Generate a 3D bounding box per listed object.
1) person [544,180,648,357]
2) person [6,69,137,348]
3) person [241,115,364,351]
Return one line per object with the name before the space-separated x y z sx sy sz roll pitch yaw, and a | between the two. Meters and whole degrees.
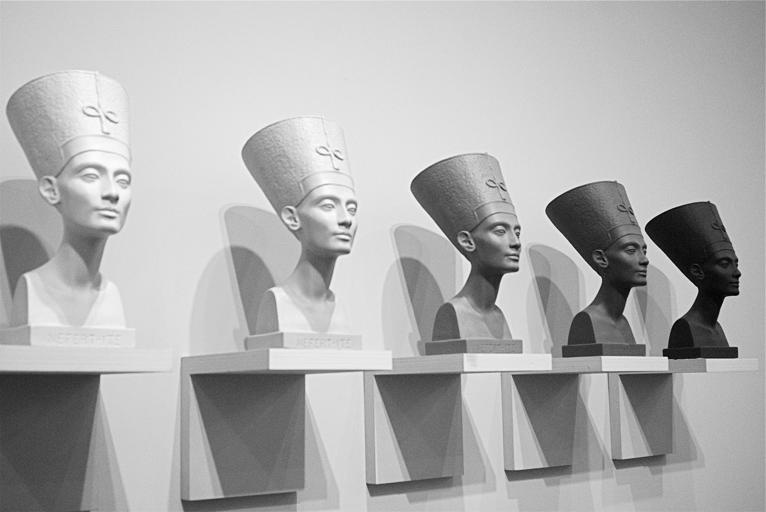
person | 0.860 0.048 4.287 0.352 0.727 0.202 -2 -17 -9
person | -1.016 -0.147 3.463 0.402 0.858 0.255 -1 -17 -14
person | -0.281 -0.089 3.711 0.374 0.757 0.228 -2 -17 -8
